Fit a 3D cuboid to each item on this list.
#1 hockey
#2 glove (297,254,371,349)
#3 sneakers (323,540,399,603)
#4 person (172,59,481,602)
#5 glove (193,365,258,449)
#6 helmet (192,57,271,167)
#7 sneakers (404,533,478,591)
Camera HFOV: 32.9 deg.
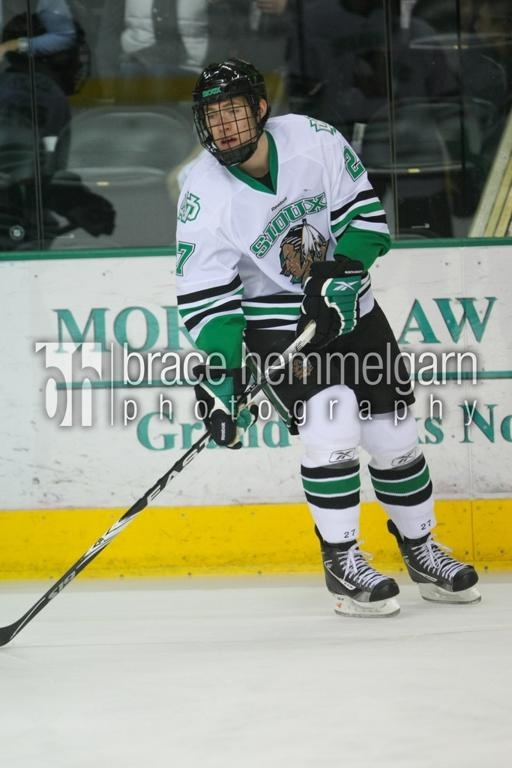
[{"bbox_3d":[-0.277,0.339,2.612,0.148,1.078,0.091,31,-17,39],"label":"hockey"},{"bbox_3d":[0.188,-0.197,2.101,0.153,0.226,0.081,5,16,-3],"label":"glove"},{"bbox_3d":[0.253,0.473,2.194,0.089,0.146,0.249,-1,-4,-32],"label":"sneakers"},{"bbox_3d":[0.166,-0.097,2.206,0.652,1.331,0.354,-4,1,-31],"label":"person"},{"bbox_3d":[-0.084,0.050,2.109,0.130,0.196,0.095,-4,1,4],"label":"glove"},{"bbox_3d":[-0.062,-0.656,2.128,0.186,0.232,0.231,-12,10,14],"label":"helmet"},{"bbox_3d":[0.474,0.469,2.304,0.075,0.139,0.225,-17,12,-35],"label":"sneakers"}]
